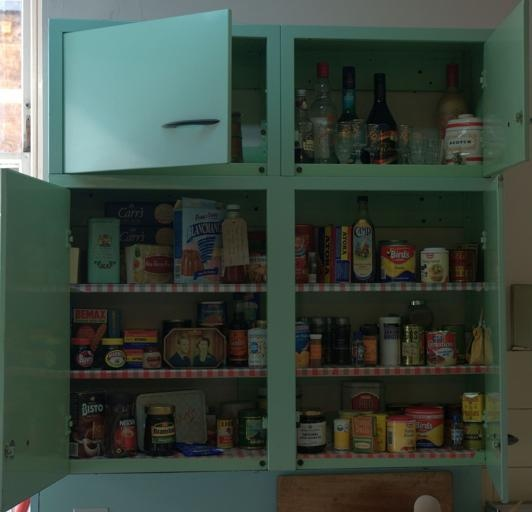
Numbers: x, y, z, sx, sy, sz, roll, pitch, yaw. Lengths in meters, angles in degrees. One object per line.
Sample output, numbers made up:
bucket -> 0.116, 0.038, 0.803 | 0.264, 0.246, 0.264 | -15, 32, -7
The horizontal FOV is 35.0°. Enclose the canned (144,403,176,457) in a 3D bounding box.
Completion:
canned -> -0.388, 0.629, 3.084 | 0.114, 0.172, 0.164 | -1, -3, -6

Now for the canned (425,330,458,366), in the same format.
canned -> 0.652, 0.344, 3.147 | 0.117, 0.124, 0.113 | -1, -8, 5

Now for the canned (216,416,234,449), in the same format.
canned -> -0.152, 0.655, 3.106 | 0.095, 0.137, 0.090 | 0, -4, -4

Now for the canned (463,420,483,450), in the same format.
canned -> 0.763, 0.658, 3.085 | 0.096, 0.120, 0.085 | 1, -10, -2

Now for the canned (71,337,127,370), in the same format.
canned -> -0.629, 0.370, 3.128 | 0.123, 0.130, 0.269 | -12, -12, 42

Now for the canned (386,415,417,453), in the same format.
canned -> 0.494, 0.652, 3.091 | 0.118, 0.122, 0.116 | -3, -10, 18

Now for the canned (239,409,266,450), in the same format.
canned -> -0.054, 0.640, 3.138 | 0.124, 0.128, 0.119 | 4, -10, -23

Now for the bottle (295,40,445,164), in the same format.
bottle -> 0.378, -0.590, 3.222 | 0.479, 0.429, 0.153 | 0, -4, -5

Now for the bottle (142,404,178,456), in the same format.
bottle -> -0.388, 0.628, 3.086 | 0.122, 0.163, 0.126 | 1, -1, 0

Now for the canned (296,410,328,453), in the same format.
canned -> 0.163, 0.638, 3.088 | 0.123, 0.165, 0.104 | -3, -9, 10
